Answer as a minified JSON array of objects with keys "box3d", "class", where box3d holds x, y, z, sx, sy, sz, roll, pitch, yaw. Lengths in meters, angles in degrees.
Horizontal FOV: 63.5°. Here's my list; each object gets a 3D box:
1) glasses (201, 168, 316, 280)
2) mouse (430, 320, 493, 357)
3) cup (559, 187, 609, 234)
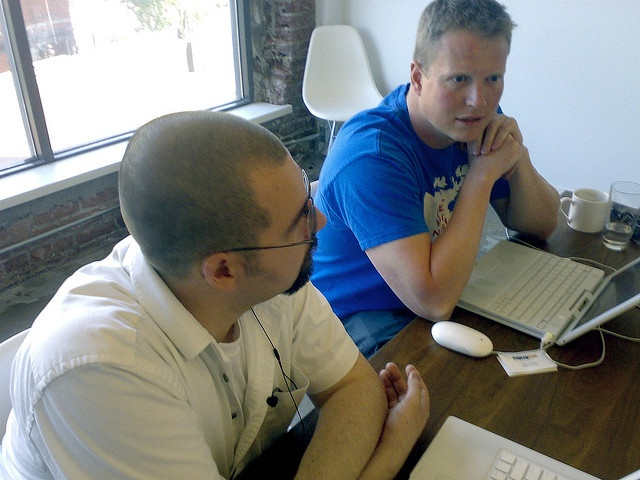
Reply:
[{"box3d":[-0.109,-0.010,1.144,0.217,0.064,0.239,-14,47,13],"class":"glasses"},{"box3d":[0.380,0.251,1.355,0.125,0.043,0.079,24,55,28],"class":"mouse"},{"box3d":[0.939,-0.100,1.881,0.172,0.141,0.121,-5,29,-5],"class":"cup"}]
